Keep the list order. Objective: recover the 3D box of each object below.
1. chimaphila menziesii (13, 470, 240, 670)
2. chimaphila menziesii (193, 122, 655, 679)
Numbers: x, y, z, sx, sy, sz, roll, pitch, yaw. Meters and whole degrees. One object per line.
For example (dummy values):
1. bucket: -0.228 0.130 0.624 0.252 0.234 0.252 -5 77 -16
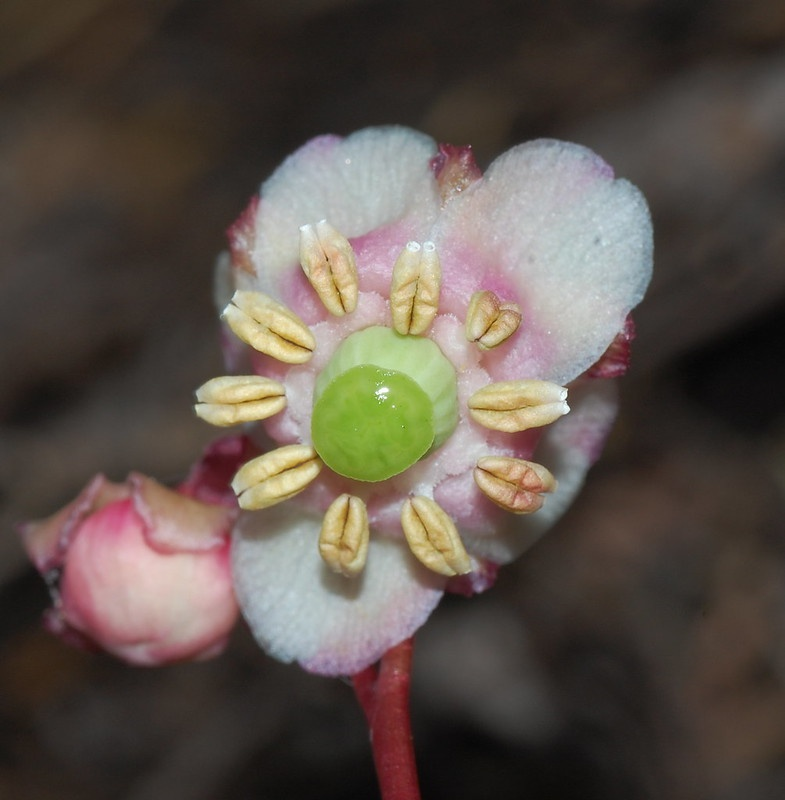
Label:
1. chimaphila menziesii: -0.228 0.147 0.950 0.168 0.132 0.162 -5 84 1
2. chimaphila menziesii: 0.020 0.000 0.937 0.480 0.191 0.457 8 87 -1
